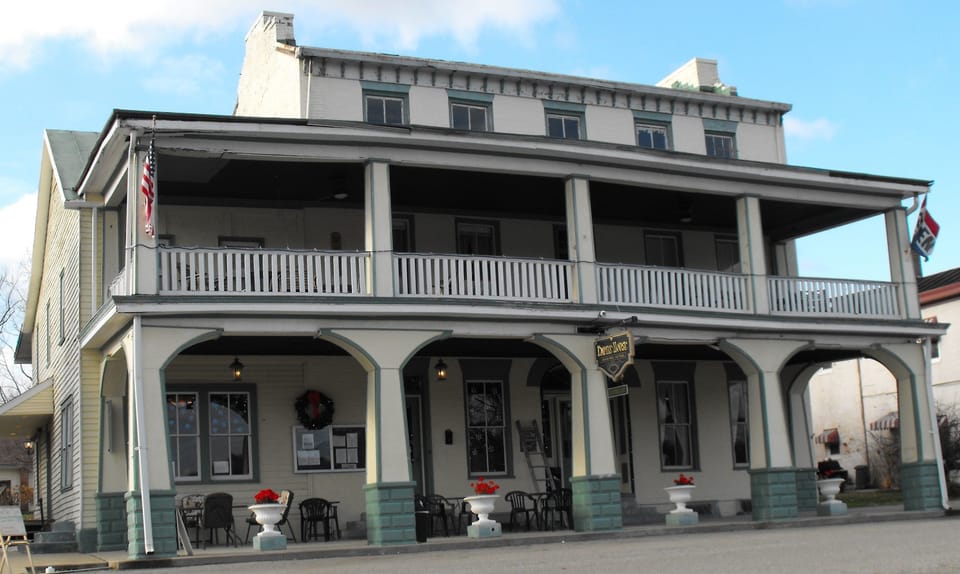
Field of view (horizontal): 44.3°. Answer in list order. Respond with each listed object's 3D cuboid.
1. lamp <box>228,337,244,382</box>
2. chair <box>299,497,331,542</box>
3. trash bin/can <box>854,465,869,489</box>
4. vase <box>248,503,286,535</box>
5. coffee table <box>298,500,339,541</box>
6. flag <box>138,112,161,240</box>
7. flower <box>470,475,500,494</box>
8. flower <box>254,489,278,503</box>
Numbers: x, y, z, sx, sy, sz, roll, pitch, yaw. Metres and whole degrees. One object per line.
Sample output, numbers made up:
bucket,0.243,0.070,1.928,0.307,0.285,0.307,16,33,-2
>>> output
lamp,-6.267,2.041,30.304,0.375,0.741,0.511,-3,-15,-6
chair,-4.184,5.967,29.835,0.775,1.086,1.579,-2,-15,-9
trash bin/can,14.431,7.265,44.535,0.725,0.874,0.721,-6,-11,34
vase,-4.981,5.511,27.536,0.799,0.534,0.761,1,-16,-7
coffee table,-3.989,5.876,29.653,0.653,0.704,0.618,-16,-36,36
flag,-7.597,-2.546,27.059,0.342,2.774,1.031,1,-16,-18
flower,0.104,5.040,29.278,0.792,0.402,0.758,3,-9,-1
flower,-4.987,4.962,27.562,0.519,0.358,0.463,-3,-15,-6
